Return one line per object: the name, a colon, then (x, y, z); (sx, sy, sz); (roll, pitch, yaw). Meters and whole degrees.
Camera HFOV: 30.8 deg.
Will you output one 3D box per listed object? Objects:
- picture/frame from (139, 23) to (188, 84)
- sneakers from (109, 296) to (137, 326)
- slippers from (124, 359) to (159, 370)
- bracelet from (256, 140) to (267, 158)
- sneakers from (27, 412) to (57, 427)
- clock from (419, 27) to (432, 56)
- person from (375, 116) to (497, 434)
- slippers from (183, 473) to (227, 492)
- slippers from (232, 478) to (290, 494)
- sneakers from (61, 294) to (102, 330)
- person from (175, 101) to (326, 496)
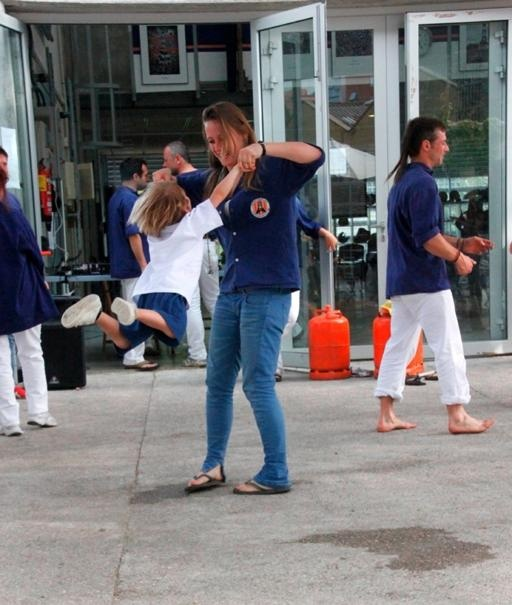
picture/frame: (-1.279, -3.403, 12.789); (0.650, 0.838, 0.244); (-4, 8, 0)
sneakers: (-0.627, 0.033, 4.446); (0.153, 0.090, 0.054); (44, 27, 22)
slippers: (-0.947, 0.516, 7.679); (0.277, 0.058, 0.100); (-2, -1, 17)
bracelet: (0.018, -0.613, 3.707); (0.044, 0.059, 0.062); (-4, 7, 0)
sneakers: (-1.250, 0.699, 5.536); (0.070, 0.074, 0.198); (13, 6, 43)
clock: (1.286, -2.005, 7.118); (0.101, 0.207, 0.044); (-4, 8, 4)
person: (0.914, -0.150, 4.986); (0.653, 1.693, 0.444); (-4, 8, 5)
slippers: (-0.230, 0.803, 4.133); (0.207, 0.062, 0.062); (-2, -2, -25)
slippers: (0.026, 0.805, 4.041); (0.185, 0.039, 0.084); (2, -4, 1)
sneakers: (-0.822, 0.044, 4.405); (0.220, 0.072, 0.117); (-33, 41, 13)
person: (0.009, 0.088, 3.976); (0.620, 1.508, 0.369); (1, 10, 33)
